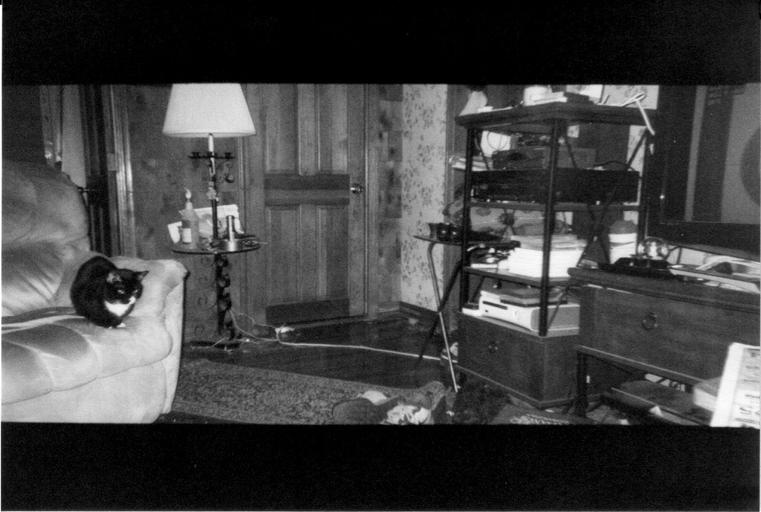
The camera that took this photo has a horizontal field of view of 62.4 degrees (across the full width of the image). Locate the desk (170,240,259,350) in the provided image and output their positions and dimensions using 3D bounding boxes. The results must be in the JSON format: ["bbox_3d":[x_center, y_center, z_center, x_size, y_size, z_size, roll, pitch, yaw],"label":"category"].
[{"bbox_3d":[-1.031,0.111,3.883,0.460,0.412,0.430,2,1,21],"label":"desk"}]

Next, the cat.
[{"bbox_3d":[-1.190,0.150,2.729,0.296,0.270,0.223,6,11,32],"label":"cat"}]

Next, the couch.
[{"bbox_3d":[-1.256,0.178,2.784,0.759,1.045,0.735,-3,10,-17],"label":"couch"}]

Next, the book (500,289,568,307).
[{"bbox_3d":[0.712,0.190,2.962,0.150,0.031,0.141,9,13,41],"label":"book"}]

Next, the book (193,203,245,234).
[{"bbox_3d":[-0.996,-0.247,3.850,0.264,0.209,0.058,-4,-8,-26],"label":"book"}]

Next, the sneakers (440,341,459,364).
[{"bbox_3d":[0.404,0.555,3.598,0.084,0.079,0.193,1,-7,16],"label":"sneakers"}]

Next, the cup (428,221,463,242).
[{"bbox_3d":[0.341,-0.134,3.389,0.135,0.094,0.193,-6,9,-40],"label":"cup"}]
